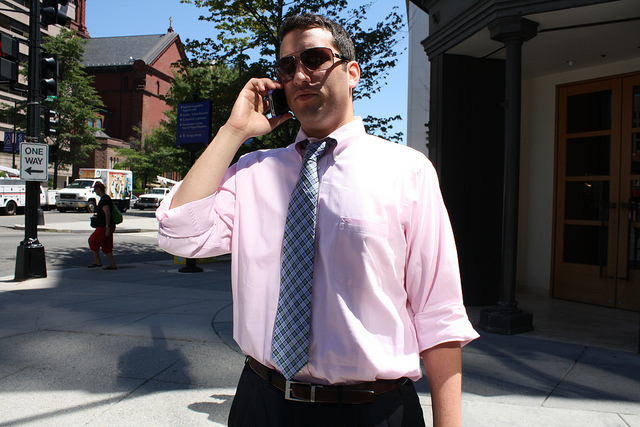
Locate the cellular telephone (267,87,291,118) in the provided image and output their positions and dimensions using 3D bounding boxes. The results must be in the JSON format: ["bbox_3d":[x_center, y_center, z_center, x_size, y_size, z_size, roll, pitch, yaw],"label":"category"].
[{"bbox_3d":[-0.323,-0.860,4.178,0.170,0.232,0.108,0,7,-3],"label":"cellular telephone"}]

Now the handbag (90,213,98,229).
[{"bbox_3d":[-5.671,0.179,13.500,0.150,0.383,0.404,-4,8,-29],"label":"handbag"}]

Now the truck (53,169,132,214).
[{"bbox_3d":[-14.994,-1.517,35.890,2.340,2.979,5.534,2,1,14],"label":"truck"}]

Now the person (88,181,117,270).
[{"bbox_3d":[-5.533,0.315,13.655,0.764,2.145,0.947,3,-2,-41],"label":"person"}]
